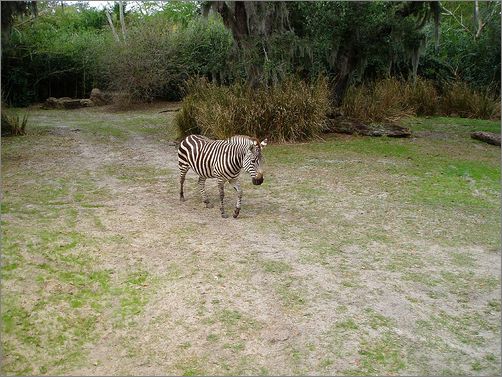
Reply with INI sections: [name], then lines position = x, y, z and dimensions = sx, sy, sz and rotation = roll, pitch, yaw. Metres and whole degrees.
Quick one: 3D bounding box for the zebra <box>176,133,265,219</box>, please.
[zebra]
position = -0.533, -0.235, 6.826
dimensions = 1.882, 1.401, 0.553
rotation = 16, 22, 36
